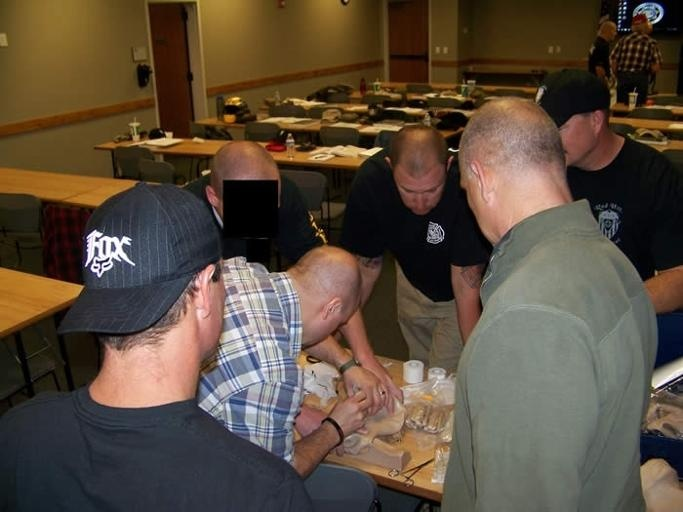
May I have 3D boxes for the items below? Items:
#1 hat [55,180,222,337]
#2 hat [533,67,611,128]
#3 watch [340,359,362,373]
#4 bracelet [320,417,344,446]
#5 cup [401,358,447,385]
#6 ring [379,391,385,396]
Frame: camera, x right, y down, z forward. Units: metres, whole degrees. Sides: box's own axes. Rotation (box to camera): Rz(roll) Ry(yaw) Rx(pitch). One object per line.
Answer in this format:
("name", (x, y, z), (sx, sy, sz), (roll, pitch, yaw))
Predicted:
("hat", (-0.391, 0.014, 1.237), (0.217, 0.191, 0.345), (8, 34, 21))
("hat", (0.892, -0.625, 2.268), (0.300, 0.172, 0.228), (-8, 30, 0))
("watch", (0.043, 0.440, 2.319), (0.071, 0.052, 0.079), (-36, -16, 22))
("bracelet", (-0.024, 0.631, 2.027), (0.022, 0.083, 0.087), (-42, 24, 4))
("cup", (0.337, 0.472, 2.351), (0.140, 0.056, 0.090), (0, 20, 6))
("ring", (0.156, 0.523, 2.177), (0.017, 0.007, 0.020), (10, 51, -21))
